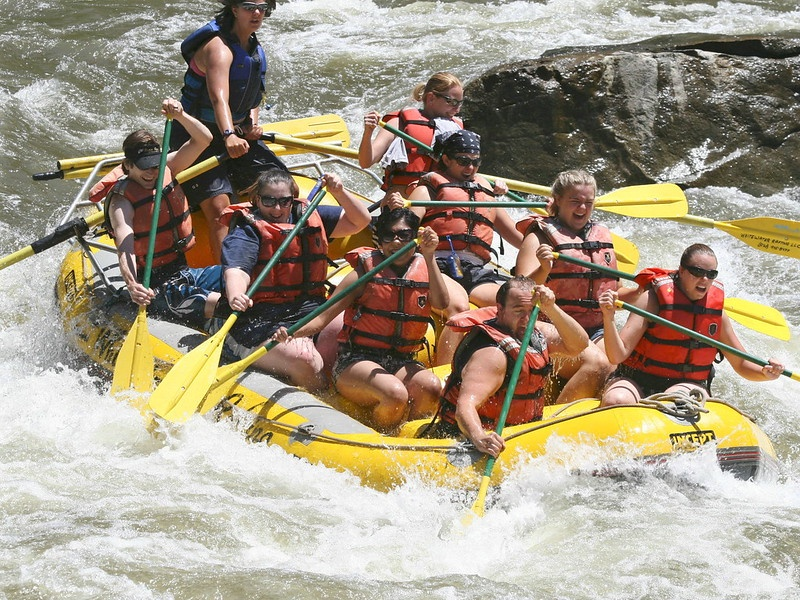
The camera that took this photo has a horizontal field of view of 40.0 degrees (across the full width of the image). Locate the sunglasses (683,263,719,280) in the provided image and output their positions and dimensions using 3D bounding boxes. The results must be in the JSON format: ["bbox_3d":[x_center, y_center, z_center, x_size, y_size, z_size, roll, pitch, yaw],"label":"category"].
[{"bbox_3d":[2.044,-0.206,7.400,0.133,0.038,0.128,13,11,-30],"label":"sunglasses"}]

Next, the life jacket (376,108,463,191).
[{"bbox_3d":[0.052,-1.196,8.959,0.492,0.788,0.825,-1,8,-4],"label":"life jacket"}]

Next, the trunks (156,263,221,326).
[{"bbox_3d":[-1.600,-0.027,8.235,0.560,0.204,0.401,-12,33,-5],"label":"trunks"}]

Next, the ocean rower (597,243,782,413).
[{"bbox_3d":[2.117,0.255,7.991,1.209,1.236,0.734,18,-5,-1],"label":"ocean rower"}]

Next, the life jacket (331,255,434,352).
[{"bbox_3d":[-0.099,0.032,7.576,0.625,0.673,0.429,12,-2,-26],"label":"life jacket"}]

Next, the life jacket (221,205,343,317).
[{"bbox_3d":[-0.869,-0.269,7.899,0.895,0.774,0.470,-1,-1,-32],"label":"life jacket"}]

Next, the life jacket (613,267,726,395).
[{"bbox_3d":[1.852,0.227,7.523,0.786,0.828,0.492,10,9,-29],"label":"life jacket"}]

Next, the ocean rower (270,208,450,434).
[{"bbox_3d":[-0.284,0.208,7.646,1.455,1.692,1.045,5,-15,-29],"label":"ocean rower"}]

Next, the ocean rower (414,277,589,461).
[{"bbox_3d":[0.704,0.500,7.273,0.704,1.220,0.841,30,30,32],"label":"ocean rower"}]
